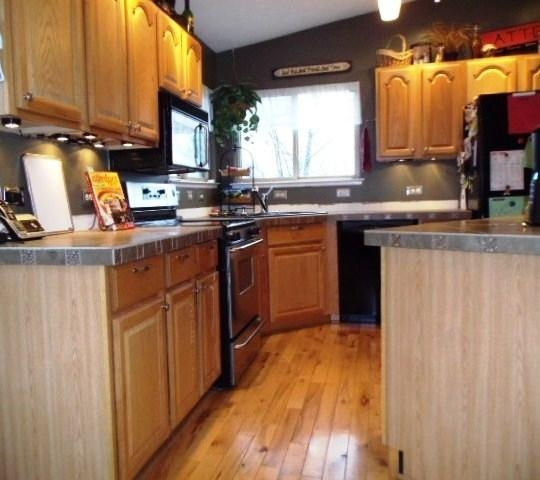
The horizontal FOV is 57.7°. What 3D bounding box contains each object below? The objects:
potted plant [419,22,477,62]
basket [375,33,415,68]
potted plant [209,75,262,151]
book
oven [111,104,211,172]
[{"bbox_3d":[1.582,-1.702,4.301,0.401,0.315,0.426,-1,7,-1],"label":"potted plant"},{"bbox_3d":[1.086,-1.634,4.263,0.318,0.304,0.242,0,2,17],"label":"basket"},{"bbox_3d":[-0.291,-1.159,4.628,0.548,0.700,0.552,3,7,29],"label":"potted plant"},{"bbox_3d":[-0.906,-0.207,2.686,0.053,0.435,0.360,-16,-4,12],"label":"book"},{"bbox_3d":[-0.698,-0.688,3.347,0.384,0.444,0.848,0,5,8],"label":"oven"}]
